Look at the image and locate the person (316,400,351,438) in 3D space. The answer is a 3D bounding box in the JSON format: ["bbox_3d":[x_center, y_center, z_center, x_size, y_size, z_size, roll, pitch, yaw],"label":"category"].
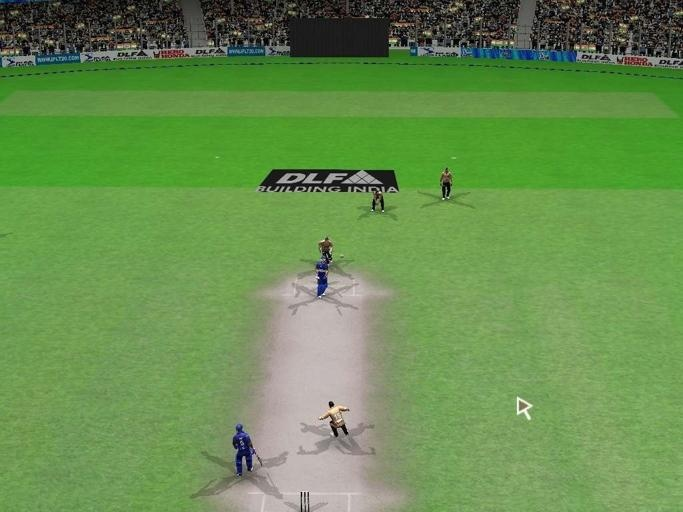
[{"bbox_3d":[-0.277,6.672,45.144,1.120,1.657,1.233,-1,45,0],"label":"person"}]

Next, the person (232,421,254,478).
[{"bbox_3d":[-3.935,7.798,43.292,0.869,2.182,1.153,-7,46,-5],"label":"person"}]
